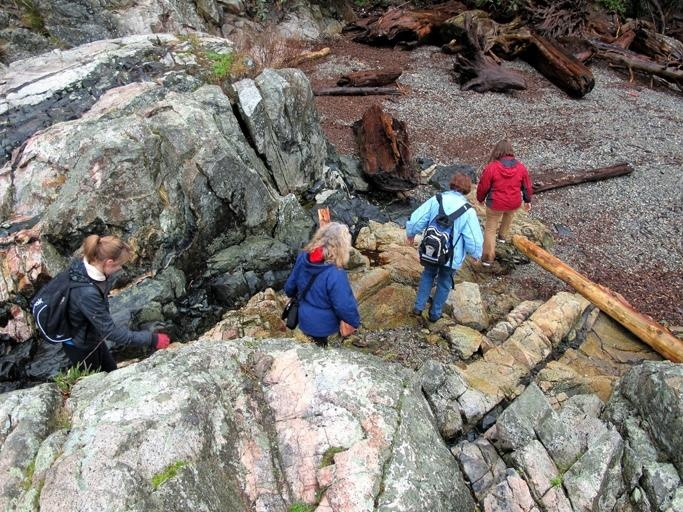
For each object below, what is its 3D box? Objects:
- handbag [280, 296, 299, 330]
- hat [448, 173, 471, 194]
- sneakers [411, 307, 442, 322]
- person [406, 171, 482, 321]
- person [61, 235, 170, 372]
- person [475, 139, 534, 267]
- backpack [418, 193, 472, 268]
[{"bbox_3d":[-0.705,0.779,6.763,0.174,0.434,0.378,-3,34,-20],"label":"handbag"},{"bbox_3d":[1.676,-1.039,7.152,0.245,0.302,0.299,24,32,14],"label":"hat"},{"bbox_3d":[1.274,0.910,7.642,0.515,0.220,0.176,10,65,-30],"label":"sneakers"},{"bbox_3d":[1.438,-0.069,7.382,1.155,2.200,0.909,16,31,19],"label":"person"},{"bbox_3d":[-2.804,0.621,6.167,0.955,1.655,0.694,0,55,-27],"label":"person"},{"bbox_3d":[2.688,-0.904,8.446,0.864,2.130,0.691,-5,39,0],"label":"person"},{"bbox_3d":[1.417,-0.301,7.060,0.473,0.763,0.681,19,50,20],"label":"backpack"}]
